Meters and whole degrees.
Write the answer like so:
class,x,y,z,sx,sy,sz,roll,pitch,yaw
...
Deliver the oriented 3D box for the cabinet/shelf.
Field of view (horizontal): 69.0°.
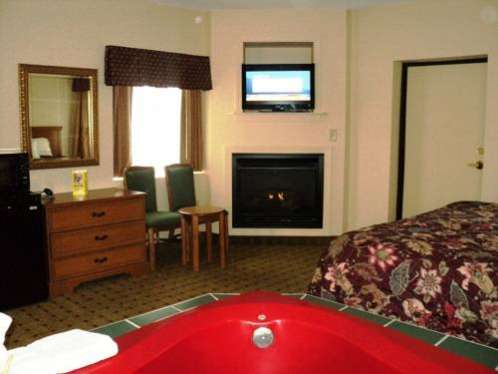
class,x,y,z,sx,sy,sz,roll,pitch,yaw
cabinet/shelf,-1.659,0.505,3.756,0.989,0.844,0.592,-6,8,-41
